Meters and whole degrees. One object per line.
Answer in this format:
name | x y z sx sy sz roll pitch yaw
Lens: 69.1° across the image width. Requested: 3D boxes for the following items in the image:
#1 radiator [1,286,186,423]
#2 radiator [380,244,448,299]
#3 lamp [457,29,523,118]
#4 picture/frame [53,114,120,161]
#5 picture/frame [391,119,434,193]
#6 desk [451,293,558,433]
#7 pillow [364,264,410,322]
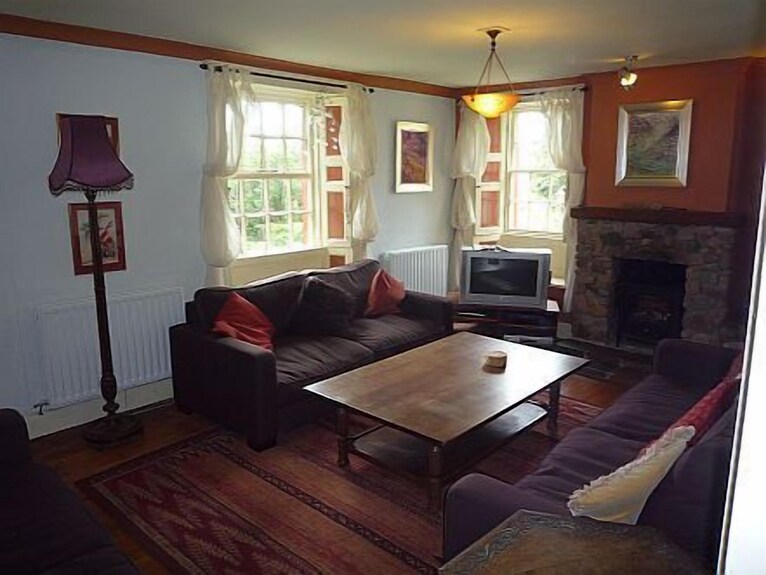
radiator | -2.201 0.497 4.136 1.017 0.665 0.132 -12 9 -44
radiator | 0.476 -0.185 6.833 0.814 0.562 0.083 -3 7 40
lamp | 0.845 -1.731 4.423 0.452 0.637 0.458 6 22 21
picture/frame | -2.193 -1.116 4.046 0.322 0.298 0.015 -5 27 -26
picture/frame | 0.353 -1.535 6.536 0.097 0.797 0.630 8 15 40
desk | 0.980 0.581 4.362 1.013 0.900 0.417 3 5 23
pillow | 0.017 0.054 5.394 0.448 0.431 0.131 32 -20 -33
